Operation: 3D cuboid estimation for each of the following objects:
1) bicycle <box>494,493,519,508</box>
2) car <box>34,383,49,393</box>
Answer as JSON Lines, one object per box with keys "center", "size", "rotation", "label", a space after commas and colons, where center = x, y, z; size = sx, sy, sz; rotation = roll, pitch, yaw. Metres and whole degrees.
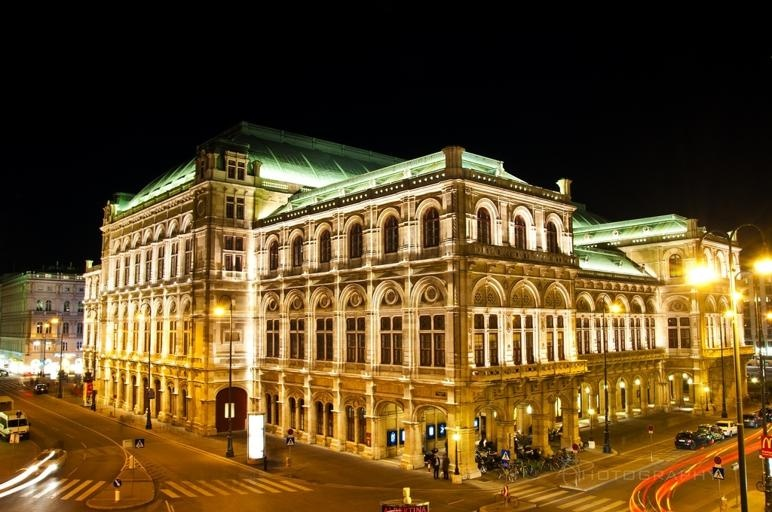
{"center": [11.419, 23.307, 73.765], "size": [1.068, 1.287, 2.355], "rotation": [-11, -38, 18], "label": "bicycle"}
{"center": [-57.690, 22.143, 130.037], "size": [1.459, 1.121, 2.340], "rotation": [4, -1, -41], "label": "car"}
